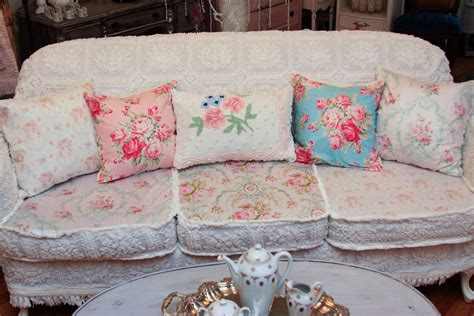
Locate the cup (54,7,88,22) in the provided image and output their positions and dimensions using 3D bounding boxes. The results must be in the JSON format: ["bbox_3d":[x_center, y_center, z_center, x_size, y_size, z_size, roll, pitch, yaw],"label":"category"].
[{"bbox_3d":[-1.339,-1.164,3.254,0.263,0.100,0.160,-10,25,-19],"label":"cup"}]

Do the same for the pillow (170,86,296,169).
[{"bbox_3d":[-0.026,-0.154,2.304,0.488,0.336,0.141,-1,6,-1],"label":"pillow"}]

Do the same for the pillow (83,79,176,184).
[{"bbox_3d":[-0.603,-0.124,2.275,0.515,0.416,0.224,-14,27,-17],"label":"pillow"}]
